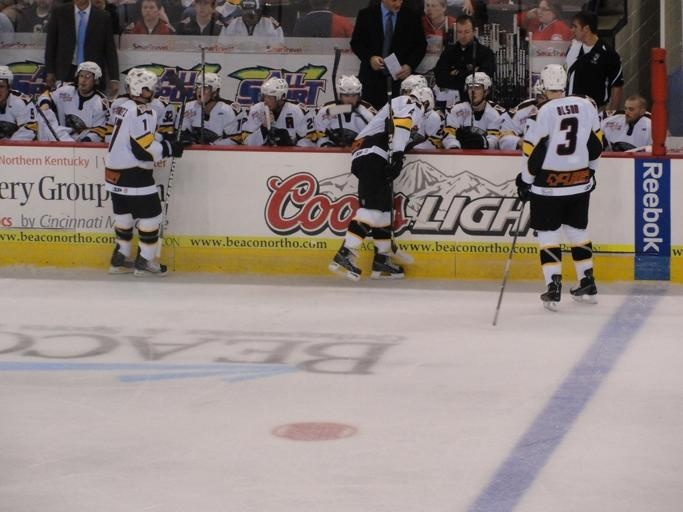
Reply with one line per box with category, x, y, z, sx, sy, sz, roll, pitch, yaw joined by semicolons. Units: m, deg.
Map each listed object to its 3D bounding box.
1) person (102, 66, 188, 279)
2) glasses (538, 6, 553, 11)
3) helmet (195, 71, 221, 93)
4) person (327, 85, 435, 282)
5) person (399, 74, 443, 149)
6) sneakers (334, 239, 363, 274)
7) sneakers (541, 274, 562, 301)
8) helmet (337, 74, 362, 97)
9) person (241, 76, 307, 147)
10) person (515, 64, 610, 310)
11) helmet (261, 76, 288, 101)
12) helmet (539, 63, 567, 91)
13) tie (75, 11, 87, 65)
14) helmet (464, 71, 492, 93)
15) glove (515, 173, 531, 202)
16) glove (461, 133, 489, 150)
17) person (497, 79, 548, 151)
person;-1.975;-0.684;10.765;0.719;1.743;0.389;-2;16;-10
glasses;2.430;-2.944;12.708;0.108;0.036;0.079;0;9;-37
helmet;-1.474;-1.920;11.711;0.321;0.256;0.223;6;17;-14
person;0.386;-0.707;10.699;0.614;1.864;1.201;7;17;21
person;0.824;-1.491;11.172;0.505;0.824;0.592;6;54;9
sneakers;0.053;0.011;10.539;0.273;0.335;0.287;0;15;-1
sneakers;1.900;0.288;9.669;0.153;0.218;0.246;5;16;16
helmet;0.087;-1.781;11.236;0.232;0.233;0.264;-2;11;-5
person;-0.699;-1.580;11.674;0.701;0.748;0.453;-1;16;-6
person;1.961;-0.536;9.673;0.743;1.782;0.507;2;16;6
helmet;-0.721;-1.810;11.519;0.292;0.245;0.215;-9;30;-35
helmet;1.932;-1.624;9.741;0.217;0.237;0.216;2;15;6
tie;-2.964;-2.537;12.396;0.188;0.614;0.161;-8;18;-26
helmet;1.458;-1.900;11.569;0.193;0.142;0.257;6;14;25
glove;1.662;-0.626;9.863;0.108;0.274;0.126;-11;18;-24
glove;1.466;-1.243;11.591;0.301;0.172;0.393;-1;15;-7
person;1.719;-1.520;11.465;0.282;0.699;0.765;20;-6;-22
